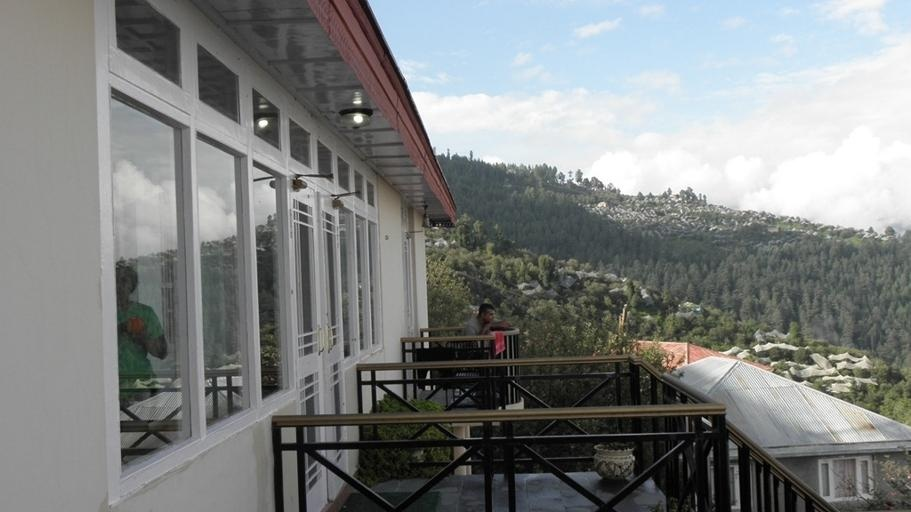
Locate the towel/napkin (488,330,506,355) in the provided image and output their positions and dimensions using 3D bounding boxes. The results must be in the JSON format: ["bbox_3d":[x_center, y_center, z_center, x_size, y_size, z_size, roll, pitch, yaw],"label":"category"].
[{"bbox_3d":[0.617,1.236,10.989,0.117,0.294,0.245,7,-8,-29],"label":"towel/napkin"}]

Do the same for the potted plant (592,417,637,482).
[{"bbox_3d":[1.662,2.142,8.110,0.426,0.427,0.563,-2,-6,12],"label":"potted plant"}]
